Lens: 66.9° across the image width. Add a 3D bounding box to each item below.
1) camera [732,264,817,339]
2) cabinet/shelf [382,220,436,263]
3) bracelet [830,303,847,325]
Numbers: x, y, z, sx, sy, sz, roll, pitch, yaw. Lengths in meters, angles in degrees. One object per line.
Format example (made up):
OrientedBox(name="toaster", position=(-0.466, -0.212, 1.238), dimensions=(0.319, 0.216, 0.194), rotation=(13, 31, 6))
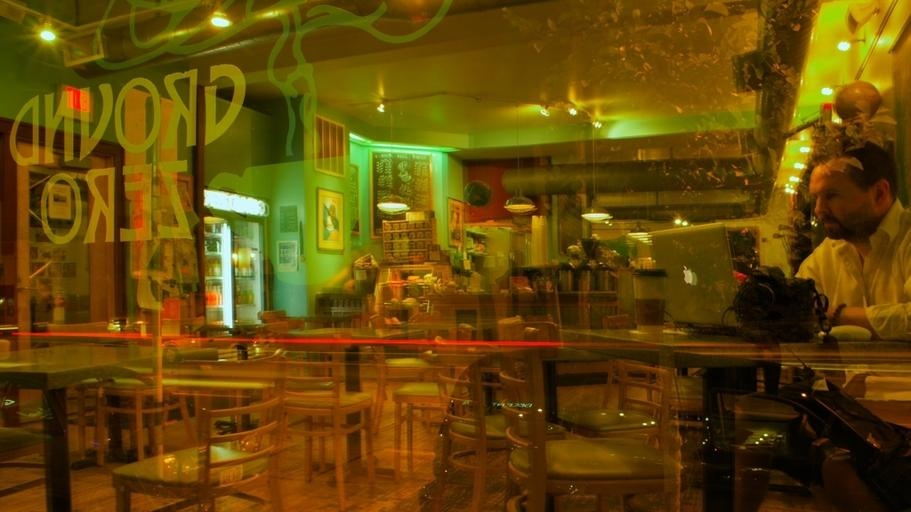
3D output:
OrientedBox(name="camera", position=(1.626, 0.254, 3.484), dimensions=(0.448, 0.366, 0.307), rotation=(-4, -3, 19))
OrientedBox(name="cabinet/shelf", position=(-0.362, -0.110, 5.416), dimensions=(0.393, 0.315, 0.139), rotation=(1, 1, 9))
OrientedBox(name="bracelet", position=(2.192, 0.331, 3.957), dimensions=(0.033, 0.106, 0.115), rotation=(18, -22, 28))
